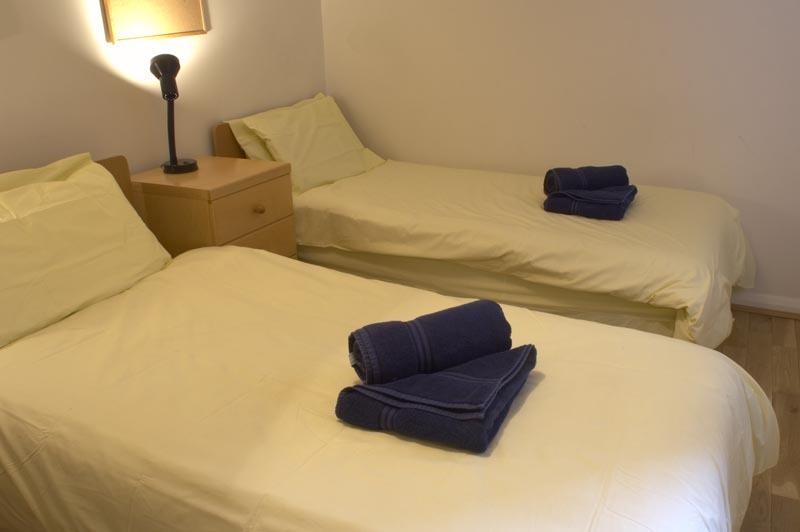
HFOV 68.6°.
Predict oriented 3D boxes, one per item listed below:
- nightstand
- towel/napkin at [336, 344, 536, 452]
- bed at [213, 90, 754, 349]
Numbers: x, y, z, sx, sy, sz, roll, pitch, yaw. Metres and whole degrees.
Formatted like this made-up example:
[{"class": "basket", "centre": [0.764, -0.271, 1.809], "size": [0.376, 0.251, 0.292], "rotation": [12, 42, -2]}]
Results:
[{"class": "nightstand", "centre": [-1.000, -0.382, 3.257], "size": [0.596, 0.617, 0.603], "rotation": [8, 32, 22]}, {"class": "towel/napkin", "centre": [0.085, 0.370, 1.897], "size": [0.397, 0.134, 0.346], "rotation": [2, 24, 37]}, {"class": "bed", "centre": [0.459, -0.287, 3.492], "size": [2.637, 1.050, 1.568], "rotation": [9, 36, 20]}]
